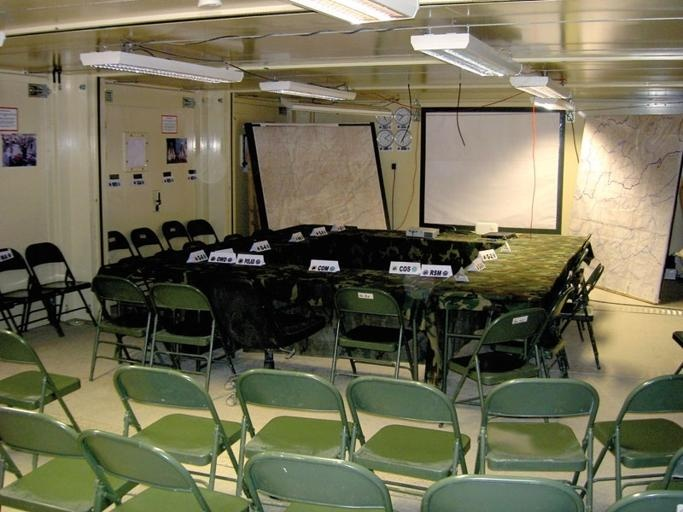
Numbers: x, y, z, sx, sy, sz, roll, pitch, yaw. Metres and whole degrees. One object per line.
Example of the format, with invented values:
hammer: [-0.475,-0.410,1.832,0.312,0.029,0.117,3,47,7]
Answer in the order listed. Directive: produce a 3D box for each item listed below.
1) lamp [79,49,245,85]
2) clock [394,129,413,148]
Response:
lamp: [-1.529,-1.615,4.742,0.473,0.172,1.342,3,7,37]
clock: [1.141,-2.215,10.592,0.364,0.326,0.088,12,11,28]
